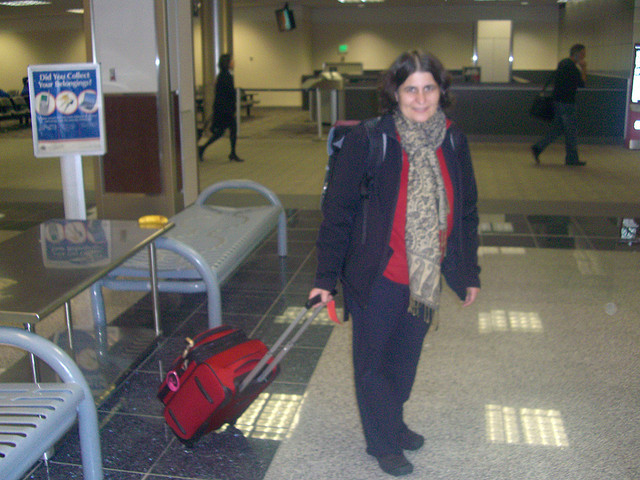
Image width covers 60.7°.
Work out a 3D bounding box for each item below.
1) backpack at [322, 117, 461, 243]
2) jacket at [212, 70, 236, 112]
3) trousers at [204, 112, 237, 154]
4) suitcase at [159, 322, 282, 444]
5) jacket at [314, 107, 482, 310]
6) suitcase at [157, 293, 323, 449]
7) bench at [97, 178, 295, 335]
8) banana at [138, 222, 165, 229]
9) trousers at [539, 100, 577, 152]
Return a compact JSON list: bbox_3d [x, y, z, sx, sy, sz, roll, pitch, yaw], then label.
[{"bbox_3d":[0.280,-0.265,2.183,0.524,0.614,0.425,3,17,12],"label":"backpack"},{"bbox_3d":[-1.602,-2.480,9.079,0.355,0.671,0.259,-3,16,-11],"label":"jacket"},{"bbox_3d":[-1.610,-1.790,9.168,0.566,0.633,0.685,4,16,12],"label":"trousers"},{"bbox_3d":[-0.466,0.611,2.397,0.341,0.528,0.382,42,37,13],"label":"suitcase"},{"bbox_3d":[0.288,-0.084,2.000,0.712,0.765,0.232,-5,16,-20],"label":"jacket"},{"bbox_3d":[-0.369,0.631,2.557,0.419,0.975,0.361,42,21,7],"label":"suitcase"},{"bbox_3d":[-0.769,0.059,3.626,0.804,0.591,1.457,4,19,9],"label":"bench"},{"bbox_3d":[-0.849,-0.071,2.727,0.139,0.014,0.093,1,15,1],"label":"banana"},{"bbox_3d":[3.737,-1.765,8.434,0.297,0.770,0.570,-12,19,-37],"label":"trousers"}]
